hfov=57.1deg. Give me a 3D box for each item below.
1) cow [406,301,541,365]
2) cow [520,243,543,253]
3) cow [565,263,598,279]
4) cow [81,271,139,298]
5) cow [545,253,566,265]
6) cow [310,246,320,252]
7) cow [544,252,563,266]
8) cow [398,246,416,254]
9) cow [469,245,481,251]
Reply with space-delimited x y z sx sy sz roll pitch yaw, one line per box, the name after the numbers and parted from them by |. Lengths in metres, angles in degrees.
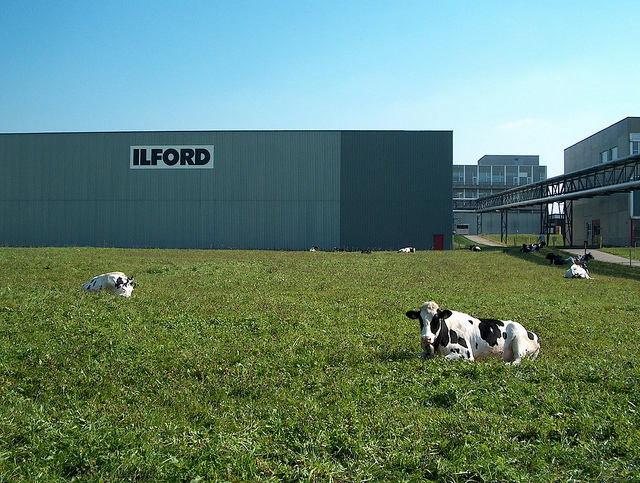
3.794 2.307 14.267 2.911 1.489 1.270 4 -10 -3 | cow
16.919 0.452 47.850 1.848 0.791 1.204 4 1 -36 | cow
13.138 1.500 29.940 1.222 0.642 2.212 3 5 37 | cow
-7.160 1.444 20.349 1.873 0.679 0.826 1 4 19 | cow
14.953 1.106 37.655 0.420 0.694 1.129 3 10 -24 | cow
-0.500 0.592 50.855 0.781 0.522 0.299 -2 4 -17 | cow
14.964 1.093 37.874 0.542 1.093 1.636 2 4 -17 | cow
7.142 0.655 49.055 1.505 0.943 0.613 1 8 5 | cow
13.902 0.539 52.731 0.559 0.984 1.763 -1 -3 29 | cow
